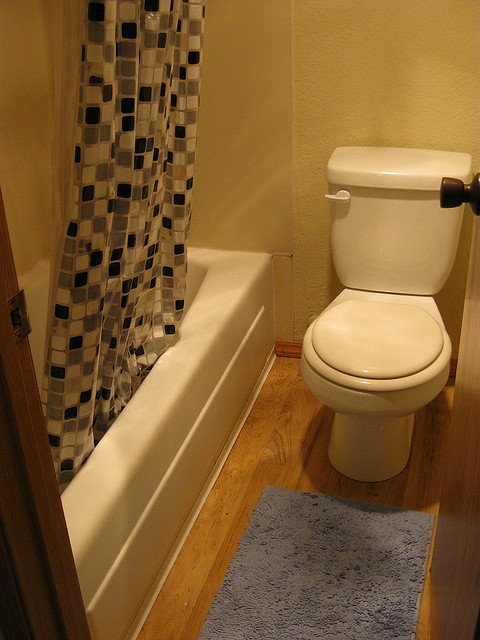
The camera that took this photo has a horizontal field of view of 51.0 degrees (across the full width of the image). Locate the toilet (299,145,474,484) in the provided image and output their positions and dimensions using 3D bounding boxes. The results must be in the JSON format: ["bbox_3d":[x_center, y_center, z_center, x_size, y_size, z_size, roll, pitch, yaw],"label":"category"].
[{"bbox_3d":[0.427,-0.010,1.465,0.427,0.855,0.678,6,23,19],"label":"toilet"}]

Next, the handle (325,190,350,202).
[{"bbox_3d":[0.302,-0.367,1.528,0.033,0.032,0.054,-2,7,-38],"label":"handle"}]
